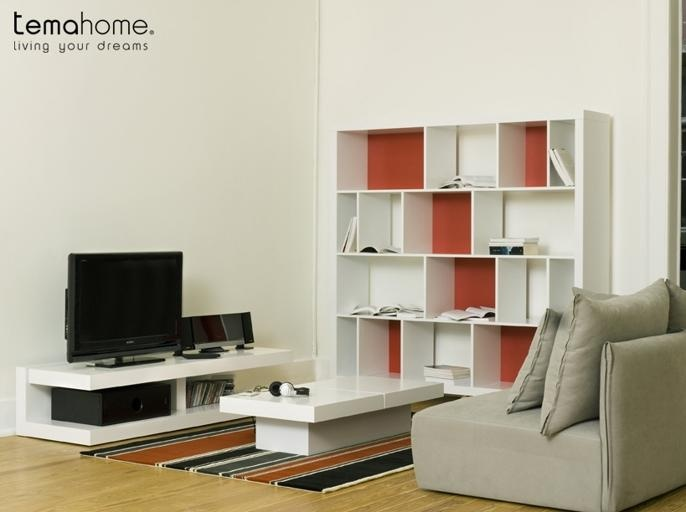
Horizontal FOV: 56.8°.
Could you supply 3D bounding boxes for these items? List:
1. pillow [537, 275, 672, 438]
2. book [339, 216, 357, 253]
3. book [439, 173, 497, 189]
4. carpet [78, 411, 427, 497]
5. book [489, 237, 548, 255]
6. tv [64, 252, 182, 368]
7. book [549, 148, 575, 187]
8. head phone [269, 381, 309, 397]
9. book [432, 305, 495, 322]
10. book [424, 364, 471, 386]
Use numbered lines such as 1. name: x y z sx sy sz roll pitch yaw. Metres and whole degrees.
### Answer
1. pillow: 1.170 0.468 2.810 0.251 0.500 0.731 22 15 42
2. book: 0.064 -0.189 5.723 0.074 0.266 0.287 8 -4 0
3. book: 1.039 -0.613 5.291 0.456 0.142 0.416 -1 2 9
4. carpet: -0.449 1.163 3.773 1.759 0.091 0.988 -1 2 26
5. book: 1.358 -0.076 5.061 0.381 0.133 0.190 -1 2 11
6. tv: -1.521 0.367 4.300 0.280 0.723 0.862 -2 -1 42
7. book: 1.690 -0.679 4.865 0.068 0.271 0.297 -23 -27 31
8. head phone: -0.329 0.799 3.799 0.164 0.051 0.114 4 1 0
9. book: 1.031 0.487 5.326 0.465 0.092 0.391 -1 2 12
10. book: 0.881 1.003 5.366 0.226 0.073 0.191 0 -2 44
